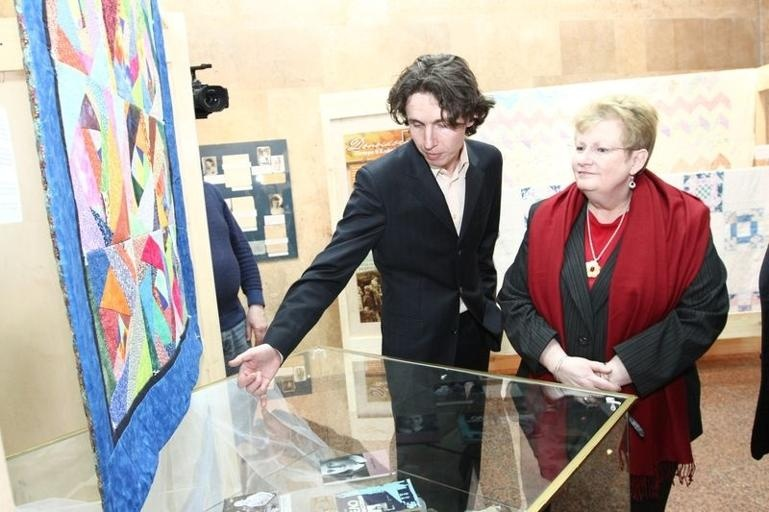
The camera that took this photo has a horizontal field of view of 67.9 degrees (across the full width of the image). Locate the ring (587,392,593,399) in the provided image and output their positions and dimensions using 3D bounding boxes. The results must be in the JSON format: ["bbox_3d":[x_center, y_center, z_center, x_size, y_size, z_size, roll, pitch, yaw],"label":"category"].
[{"bbox_3d":[0.624,0.419,1.730,0.019,0.014,0.023,-1,6,20],"label":"ring"}]

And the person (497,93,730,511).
[{"bbox_3d":[0.863,0.180,2.215,0.821,1.561,0.466,0,7,27],"label":"person"}]

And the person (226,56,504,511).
[{"bbox_3d":[0.047,-0.104,2.235,1.172,1.309,0.398,-6,7,-24],"label":"person"}]
